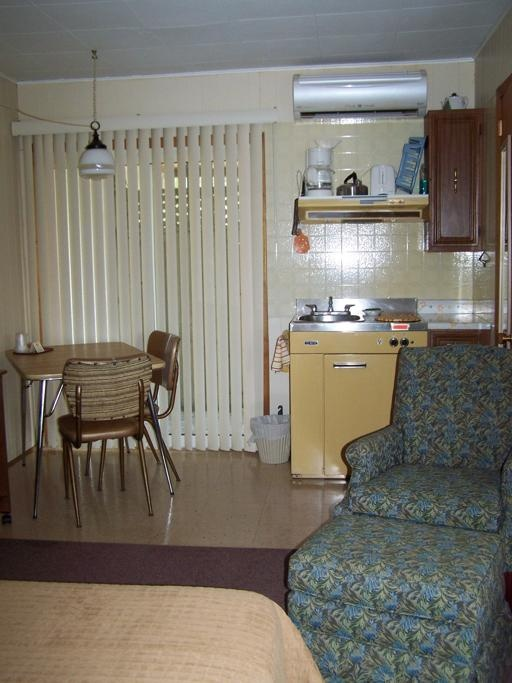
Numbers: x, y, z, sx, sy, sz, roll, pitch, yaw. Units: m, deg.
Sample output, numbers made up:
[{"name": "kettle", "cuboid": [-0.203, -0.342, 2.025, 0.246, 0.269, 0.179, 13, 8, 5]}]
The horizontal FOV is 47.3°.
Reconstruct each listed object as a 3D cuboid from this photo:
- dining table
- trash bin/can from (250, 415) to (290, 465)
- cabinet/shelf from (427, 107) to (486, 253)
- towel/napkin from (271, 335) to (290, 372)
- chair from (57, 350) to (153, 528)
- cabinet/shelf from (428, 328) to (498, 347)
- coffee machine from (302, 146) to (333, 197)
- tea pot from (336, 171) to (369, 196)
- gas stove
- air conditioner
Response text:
[{"name": "dining table", "cuboid": [-1.010, 0.502, 3.548, 0.926, 1.024, 1.078, -3, 10, -16]}, {"name": "trash bin/can", "cuboid": [0.089, 0.677, 4.018, 0.281, 0.264, 0.308, -1, -8, -3]}, {"name": "cabinet/shelf", "cuboid": [1.356, -1.122, 3.882, 0.404, 0.907, 0.452, -4, 32, 11]}, {"name": "towel/napkin", "cuboid": [0.168, 0.087, 3.947, 0.115, 0.278, 0.238, 4, 6, 17]}, {"name": "chair", "cuboid": [-0.817, 0.489, 3.189, 0.504, 0.863, 0.741, -2, 4, -16]}, {"name": "cabinet/shelf", "cuboid": [1.256, -0.027, 3.616, 0.373, 0.100, 0.135, 0, 4, 15]}, {"name": "coffee machine", "cuboid": [0.426, -1.139, 4.006, 0.284, 0.332, 0.288, -4, 9, -9]}, {"name": "tea pot", "cuboid": [0.645, -1.059, 3.927, 0.220, 0.223, 0.174, 3, 20, 14]}, {"name": "gas stove", "cuboid": [0.654, -0.118, 3.878, 0.843, 0.332, 0.766, -1, 4, 5]}, {"name": "air conditioner", "cuboid": [0.670, -1.605, 3.816, 0.848, 0.251, 0.187, -1, 4, 7]}]
